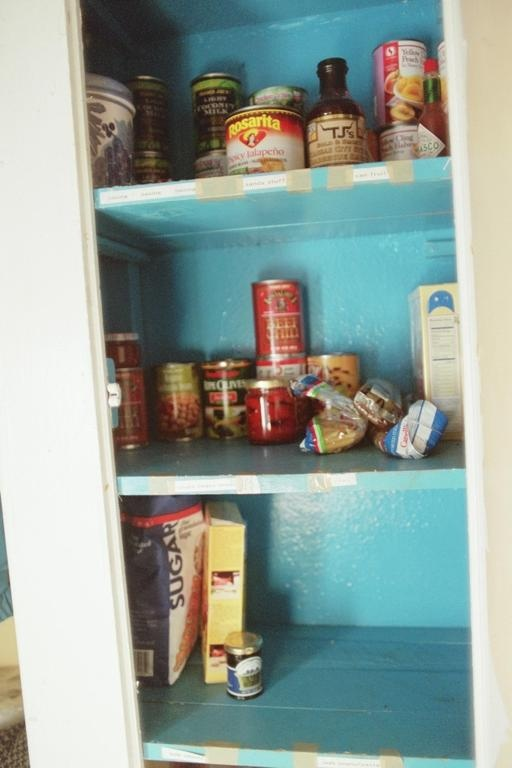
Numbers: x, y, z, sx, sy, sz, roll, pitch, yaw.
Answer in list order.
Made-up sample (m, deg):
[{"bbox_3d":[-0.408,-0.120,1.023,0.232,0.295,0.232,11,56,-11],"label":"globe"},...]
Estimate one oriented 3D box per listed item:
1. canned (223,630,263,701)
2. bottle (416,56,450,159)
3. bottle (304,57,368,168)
[{"bbox_3d":[-0.019,0.449,1.096,0.084,0.090,0.082,0,-1,-2],"label":"canned"},{"bbox_3d":[0.267,-0.415,1.033,0.039,0.150,0.085,-1,6,10],"label":"bottle"},{"bbox_3d":[0.122,-0.414,1.030,0.093,0.195,0.163,-2,6,4],"label":"bottle"}]
